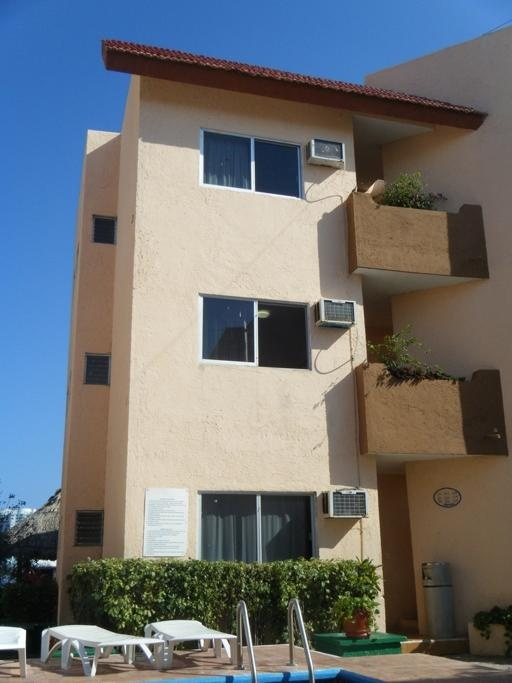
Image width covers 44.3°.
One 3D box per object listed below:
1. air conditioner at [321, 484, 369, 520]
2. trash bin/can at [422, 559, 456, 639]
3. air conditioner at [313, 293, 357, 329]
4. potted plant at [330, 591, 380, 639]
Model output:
[{"bbox_3d":[1.497,2.728,10.521,0.862,0.622,0.468,7,-20,-17],"label":"air conditioner"},{"bbox_3d":[3.303,4.631,11.265,0.527,1.222,0.445,-2,-15,6],"label":"trash bin/can"},{"bbox_3d":[1.450,-0.511,11.417,0.749,0.539,0.482,7,-21,-11],"label":"air conditioner"},{"bbox_3d":[1.424,3.944,9.038,0.637,0.590,0.672,-3,-26,13],"label":"potted plant"}]
